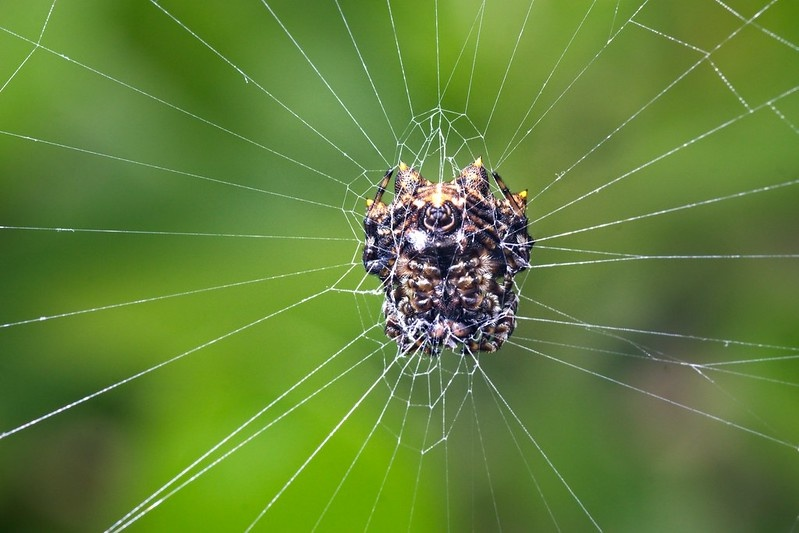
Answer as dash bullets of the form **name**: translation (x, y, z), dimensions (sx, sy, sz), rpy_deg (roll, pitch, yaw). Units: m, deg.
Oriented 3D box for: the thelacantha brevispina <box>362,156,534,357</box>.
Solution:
- **thelacantha brevispina**: translation (0.165, -0.058, 2.424), dimensions (0.506, 0.221, 0.699), rpy_deg (-1, -89, 5)
